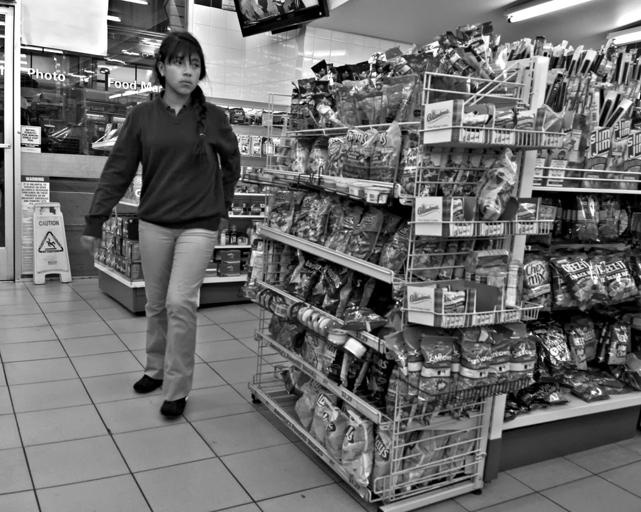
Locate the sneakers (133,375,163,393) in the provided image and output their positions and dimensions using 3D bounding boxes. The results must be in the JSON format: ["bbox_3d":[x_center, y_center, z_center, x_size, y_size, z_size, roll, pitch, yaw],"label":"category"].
[{"bbox_3d":[-1.075,0.802,3.007,0.193,0.077,0.090,4,-4,-43],"label":"sneakers"}]

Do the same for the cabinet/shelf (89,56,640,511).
[{"bbox_3d":[0.213,0.024,2.436,1.954,1.983,1.179,13,16,36],"label":"cabinet/shelf"}]
